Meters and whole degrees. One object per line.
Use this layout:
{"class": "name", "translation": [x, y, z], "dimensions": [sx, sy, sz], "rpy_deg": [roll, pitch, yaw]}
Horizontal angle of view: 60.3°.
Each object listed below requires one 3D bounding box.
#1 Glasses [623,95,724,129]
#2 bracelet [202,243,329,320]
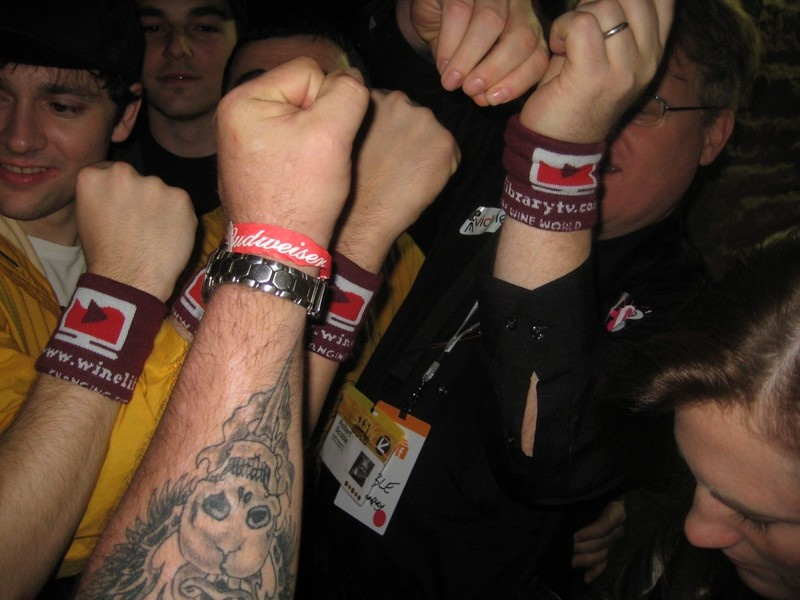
{"class": "Glasses", "translation": [1.004, -0.700, 2.562], "dimensions": [0.222, 0.066, 0.166], "rpy_deg": [2, 28, 1]}
{"class": "bracelet", "translation": [-0.346, -0.058, 1.893], "dimensions": [0.292, 0.284, 0.168], "rpy_deg": [13, 84, 17]}
